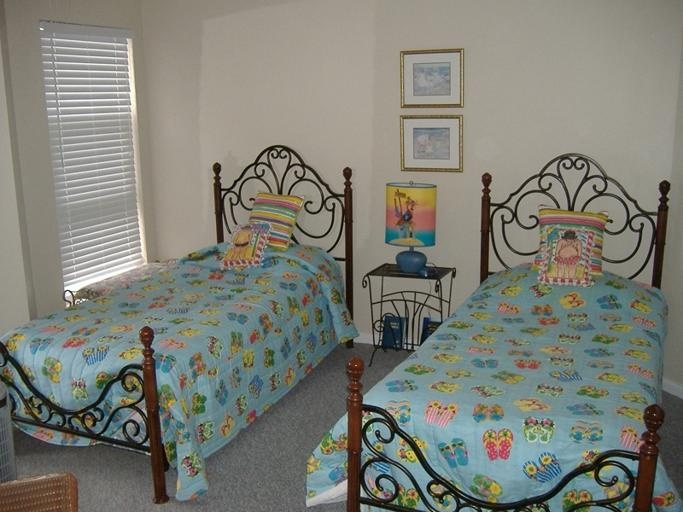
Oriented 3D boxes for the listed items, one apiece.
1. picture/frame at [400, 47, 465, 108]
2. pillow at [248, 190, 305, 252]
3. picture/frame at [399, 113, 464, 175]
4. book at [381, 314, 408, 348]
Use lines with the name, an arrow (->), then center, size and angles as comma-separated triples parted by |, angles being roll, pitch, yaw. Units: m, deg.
picture/frame -> 0.737, -1.418, 4.360 | 0.435, 0.408, 0.048 | 3, 16, 19
pillow -> -0.543, -0.323, 4.480 | 0.438, 0.464, 0.141 | 1, -16, 22
picture/frame -> 0.742, -0.918, 4.445 | 0.441, 0.413, 0.031 | 2, 7, 15
book -> 0.444, 0.626, 4.594 | 0.222, 0.355, 0.116 | 6, 9, 28
